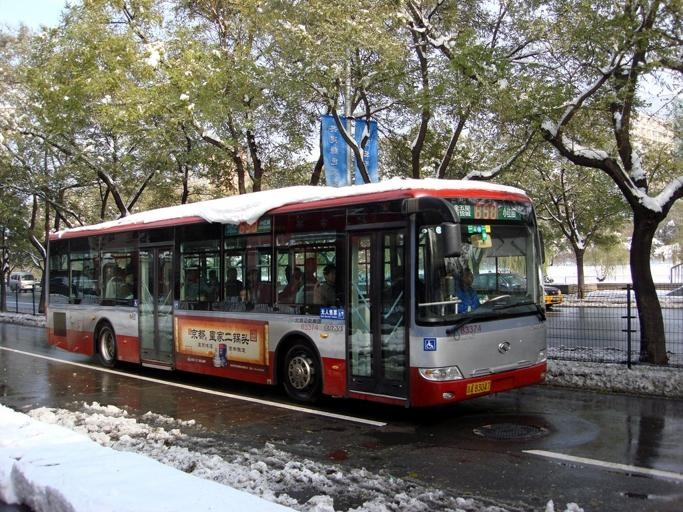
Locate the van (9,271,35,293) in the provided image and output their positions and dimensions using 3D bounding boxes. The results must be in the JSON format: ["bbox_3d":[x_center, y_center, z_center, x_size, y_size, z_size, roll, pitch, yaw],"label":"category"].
[{"bbox_3d":[-36.516,3.044,66.718,2.006,2.224,4.155,2,4,-40],"label":"van"}]

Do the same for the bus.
[{"bbox_3d":[-2.849,0.762,13.808,14.814,4.030,2.652,-2,1,42],"label":"bus"}]
